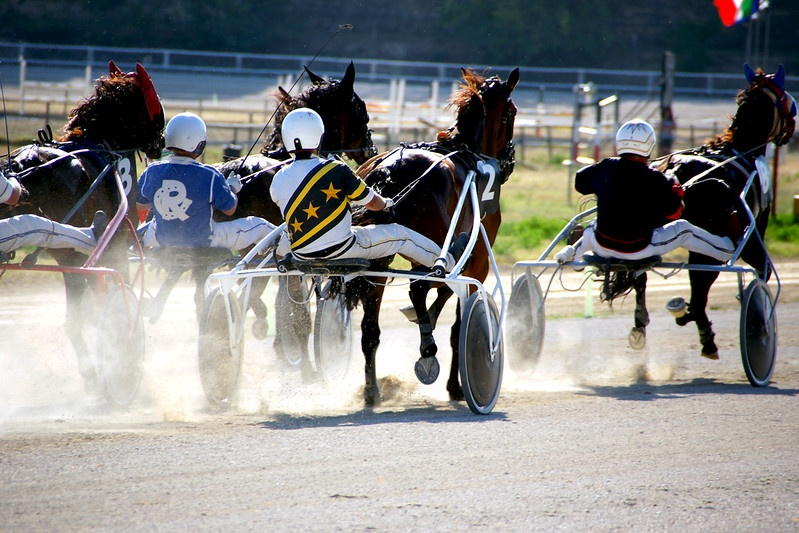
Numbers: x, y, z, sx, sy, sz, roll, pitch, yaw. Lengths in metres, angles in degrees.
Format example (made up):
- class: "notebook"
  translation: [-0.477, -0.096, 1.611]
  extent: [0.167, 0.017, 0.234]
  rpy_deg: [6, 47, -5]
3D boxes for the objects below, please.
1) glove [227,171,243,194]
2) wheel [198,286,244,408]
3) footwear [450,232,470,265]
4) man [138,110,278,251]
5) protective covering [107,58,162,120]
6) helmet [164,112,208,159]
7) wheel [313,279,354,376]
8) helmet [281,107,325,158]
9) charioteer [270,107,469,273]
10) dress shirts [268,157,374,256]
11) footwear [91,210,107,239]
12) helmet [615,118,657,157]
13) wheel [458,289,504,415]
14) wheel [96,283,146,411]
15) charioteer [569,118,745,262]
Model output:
- class: "glove"
  translation: [-1.891, -0.975, 16.158]
  extent: [0.082, 0.227, 0.172]
  rpy_deg: [-31, 35, -19]
- class: "wheel"
  translation: [-1.992, 0.914, 15.470]
  extent: [0.197, 1.316, 1.352]
  rpy_deg: [-2, -3, 14]
- class: "footwear"
  translation: [0.692, -0.229, 15.686]
  extent: [0.149, 0.121, 0.519]
  rpy_deg: [-38, 11, 39]
- class: "man"
  translation: [-2.500, -0.875, 16.320]
  extent: [2.112, 1.778, 1.205]
  rpy_deg: [4, 8, 9]
- class: "protective covering"
  translation: [-3.206, -2.152, 16.773]
  extent: [0.568, 0.734, 0.500]
  rpy_deg: [3, 10, 10]
- class: "helmet"
  translation: [-2.465, -1.537, 16.089]
  extent: [0.557, 0.613, 0.563]
  rpy_deg: [3, 13, -12]
- class: "wheel"
  translation: [-0.754, 0.698, 15.939]
  extent: [0.191, 1.131, 1.151]
  rpy_deg: [-3, 0, 14]
- class: "helmet"
  translation: [-1.012, -1.482, 15.402]
  extent: [0.408, 0.479, 0.504]
  rpy_deg: [-4, -15, 8]
- class: "charioteer"
  translation: [-0.560, -0.873, 16.297]
  extent: [1.571, 1.806, 2.662]
  rpy_deg: [-3, -1, 27]
- class: "dress shirts"
  translation: [-0.888, -0.686, 15.223]
  extent: [1.105, 1.065, 0.422]
  rpy_deg: [-7, -4, 11]
- class: "footwear"
  translation: [-3.436, -0.481, 15.888]
  extent: [0.125, 0.358, 0.244]
  rpy_deg: [6, 0, 1]
- class: "helmet"
  translation: [2.842, -1.552, 16.460]
  extent: [0.387, 0.385, 0.482]
  rpy_deg: [8, 18, 18]
- class: "wheel"
  translation: [0.926, 0.969, 15.444]
  extent: [0.235, 1.342, 0.652]
  rpy_deg: [5, 6, 45]
- class: "wheel"
  translation: [-3.185, 0.925, 15.704]
  extent: [0.147, 1.379, 1.405]
  rpy_deg: [-2, 3, 14]
- class: "charioteer"
  translation: [2.757, -0.851, 16.965]
  extent: [1.695, 1.699, 2.921]
  rpy_deg: [-4, 8, 13]
